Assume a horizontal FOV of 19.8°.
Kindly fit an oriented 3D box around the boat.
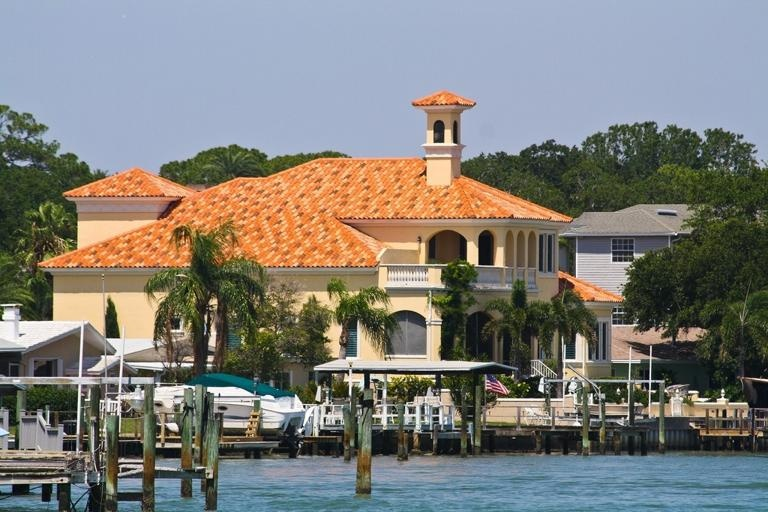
[{"bbox_3d":[-9.563,7.548,122.313,10.093,3.170,3.733,4,-9,2],"label":"boat"}]
